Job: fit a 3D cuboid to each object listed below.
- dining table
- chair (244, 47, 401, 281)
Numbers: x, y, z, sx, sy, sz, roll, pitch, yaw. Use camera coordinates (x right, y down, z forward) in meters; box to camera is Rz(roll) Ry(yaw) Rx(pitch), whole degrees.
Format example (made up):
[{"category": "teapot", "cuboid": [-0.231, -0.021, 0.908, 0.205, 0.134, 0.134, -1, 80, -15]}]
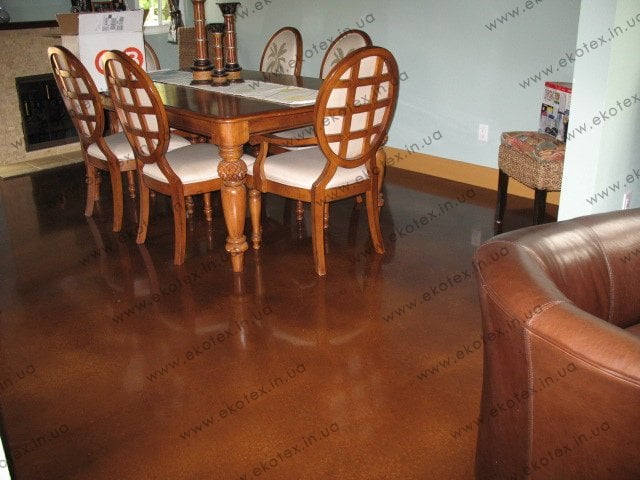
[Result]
[{"category": "dining table", "cuboid": [-0.374, -0.714, 3.021, 1.145, 1.124, 1.491, -18, 35, -31]}, {"category": "chair", "cuboid": [-0.005, -0.450, 2.601, 0.810, 1.217, 0.494, 5, 26, 9]}]
